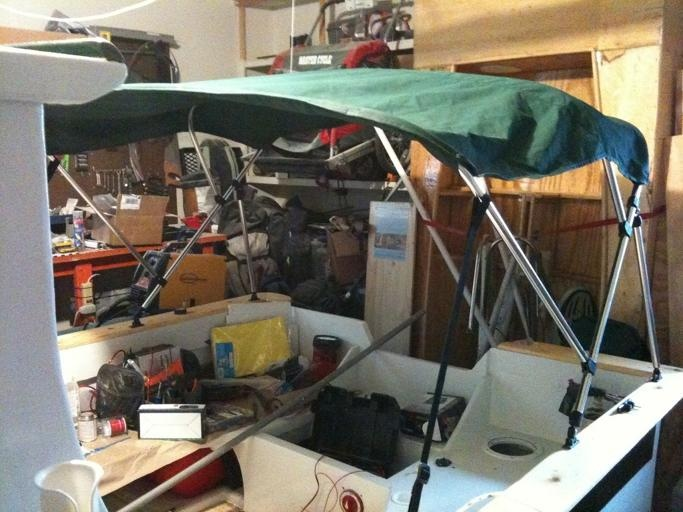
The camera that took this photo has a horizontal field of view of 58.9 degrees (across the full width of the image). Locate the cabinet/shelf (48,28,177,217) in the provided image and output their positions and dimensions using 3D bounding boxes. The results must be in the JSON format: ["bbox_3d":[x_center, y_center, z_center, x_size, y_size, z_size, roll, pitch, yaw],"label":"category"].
[{"bbox_3d":[-2.227,-1.368,6.270,1.043,1.931,1.540,-6,12,-5],"label":"cabinet/shelf"}]

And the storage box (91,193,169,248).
[{"bbox_3d":[-1.845,-0.306,5.251,0.533,0.486,0.512,-16,16,-42],"label":"storage box"}]
